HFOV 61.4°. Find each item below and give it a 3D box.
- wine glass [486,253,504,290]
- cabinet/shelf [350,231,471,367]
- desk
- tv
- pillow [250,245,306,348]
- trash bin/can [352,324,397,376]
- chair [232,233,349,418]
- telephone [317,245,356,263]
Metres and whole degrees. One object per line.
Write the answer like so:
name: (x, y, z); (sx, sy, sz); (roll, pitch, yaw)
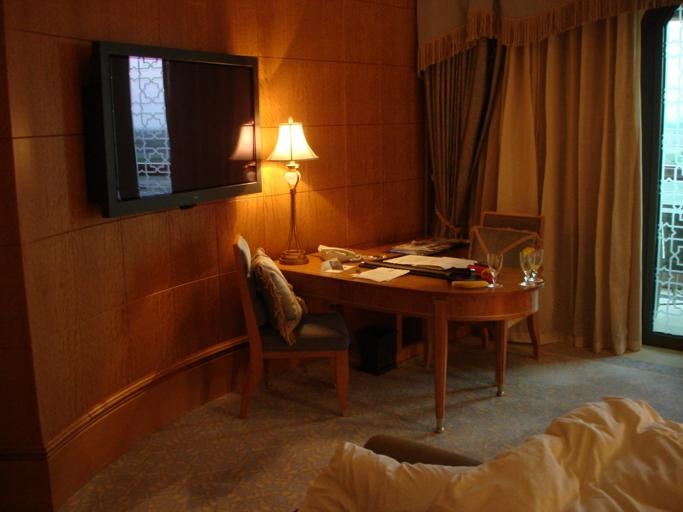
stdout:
wine glass: (0.965, 0.061, 3.612); (0.087, 0.212, 0.374); (3, 15, 16)
cabinet/shelf: (0.473, 0.340, 4.058); (0.473, 0.905, 0.909); (7, 7, 43)
desk: (0.441, 0.579, 4.194); (0.724, 0.848, 1.893); (-4, 4, -37)
tv: (-0.945, -0.765, 3.487); (0.104, 0.935, 1.263); (8, 17, 32)
pillow: (-0.393, 0.261, 3.615); (0.135, 0.501, 0.462); (-18, 28, 4)
trash bin/can: (0.244, 0.678, 4.394); (0.292, 0.337, 0.330); (1, 7, 31)
chair: (-0.321, 0.463, 3.944); (0.700, 1.082, 0.702); (-2, 1, -4)
telephone: (-0.026, -0.016, 4.089); (0.186, 0.081, 0.148); (-9, 2, 3)
